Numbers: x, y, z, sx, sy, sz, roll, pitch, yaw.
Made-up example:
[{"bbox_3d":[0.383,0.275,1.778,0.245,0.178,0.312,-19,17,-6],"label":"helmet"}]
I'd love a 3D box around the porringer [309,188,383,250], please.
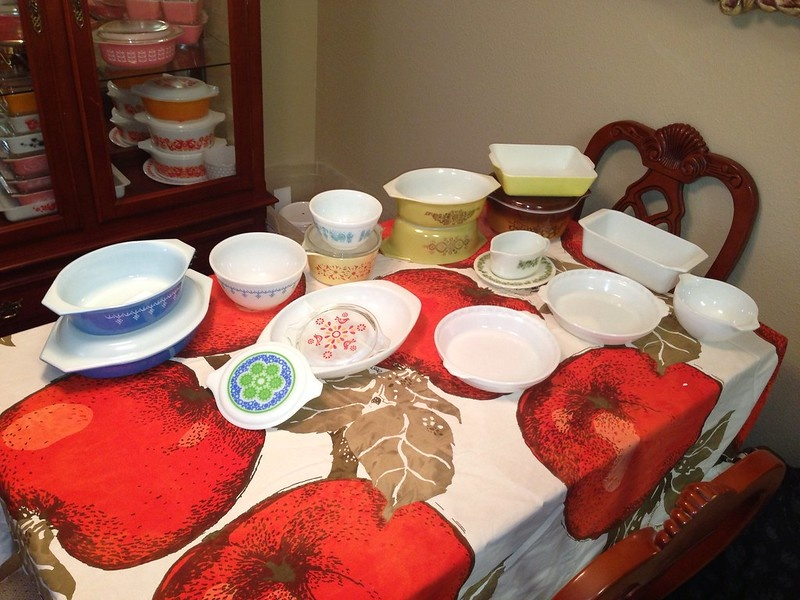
[{"bbox_3d":[-0.137,-0.182,1.350,0.159,0.093,0.156,-19,40,-33],"label":"porringer"}]

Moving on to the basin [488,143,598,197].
[{"bbox_3d":[0.394,-0.371,1.584,0.315,0.078,0.326,1,34,-1],"label":"basin"}]

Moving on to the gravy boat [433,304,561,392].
[{"bbox_3d":[0.216,0.106,1.217,0.225,0.045,0.189,-9,49,-13],"label":"gravy boat"}]

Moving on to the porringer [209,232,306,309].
[{"bbox_3d":[-0.317,-0.025,1.260,0.165,0.091,0.163,0,20,-3],"label":"porringer"}]

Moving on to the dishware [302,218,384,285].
[{"bbox_3d":[-0.136,-0.122,1.355,0.163,0.075,0.133,-7,39,-12],"label":"dishware"}]

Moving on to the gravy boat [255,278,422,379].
[{"bbox_3d":[-0.134,0.060,1.163,0.225,0.052,0.298,6,34,-1],"label":"gravy boat"}]

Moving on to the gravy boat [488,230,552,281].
[{"bbox_3d":[0.317,-0.092,1.459,0.158,0.067,0.122,-8,9,-31],"label":"gravy boat"}]

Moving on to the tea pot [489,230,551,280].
[{"bbox_3d":[0.319,-0.092,1.451,0.146,0.065,0.119,1,10,-7],"label":"tea pot"}]
